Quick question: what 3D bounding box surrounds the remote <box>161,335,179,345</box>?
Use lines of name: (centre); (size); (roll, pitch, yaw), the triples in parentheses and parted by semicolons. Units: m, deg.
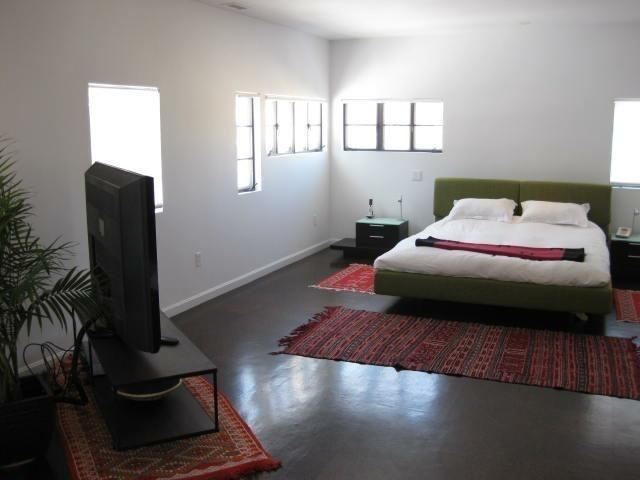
remote: (-0.942, 0.624, 2.948); (0.095, 0.033, 0.054); (2, 7, 5)

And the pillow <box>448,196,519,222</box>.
pillow: (2.213, -0.417, 6.436); (0.522, 0.134, 0.492); (3, 25, 30)

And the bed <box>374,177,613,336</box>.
bed: (2.191, 0.050, 5.459); (1.898, 0.974, 2.328); (4, 13, 26)

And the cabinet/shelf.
cabinet/shelf: (-0.978, 0.908, 2.813); (0.562, 0.452, 0.984); (-4, 20, -24)

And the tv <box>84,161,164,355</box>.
tv: (-1.161, 0.125, 2.762); (0.291, 1.077, 0.814); (-9, 16, -32)
